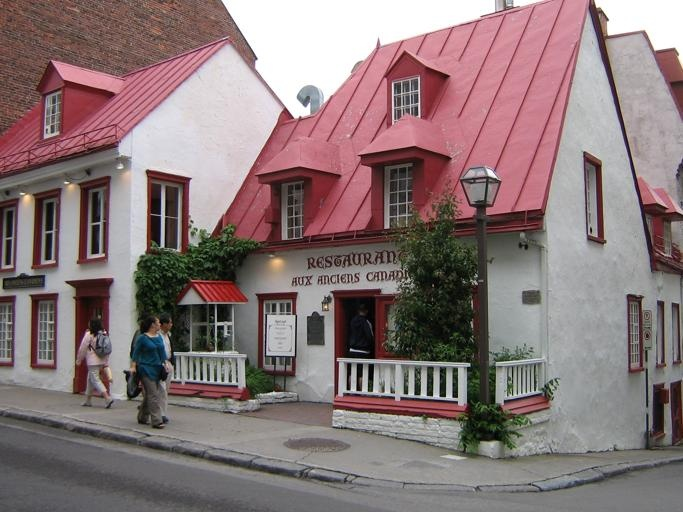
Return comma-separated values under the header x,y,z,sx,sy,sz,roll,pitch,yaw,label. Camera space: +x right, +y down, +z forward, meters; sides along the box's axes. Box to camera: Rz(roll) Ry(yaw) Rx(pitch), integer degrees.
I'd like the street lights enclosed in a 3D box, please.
x,y,z,sx,sy,sz,roll,pitch,yaw,label
2.728,0.556,14.371,0.626,4.743,0.463,2,0,13,street lights

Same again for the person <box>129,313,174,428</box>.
x,y,z,sx,sy,sz,roll,pitch,yaw,label
-4.002,2.380,15.130,0.779,2.409,0.562,3,0,-14,person

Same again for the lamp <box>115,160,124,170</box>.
x,y,z,sx,sy,sz,roll,pitch,yaw,label
-6.129,-2.543,19.983,0.207,0.254,0.217,2,-12,-15,lamp

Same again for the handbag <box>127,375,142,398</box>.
x,y,z,sx,sy,sz,roll,pitch,yaw,label
-4.383,2.733,15.283,0.269,0.524,0.624,3,0,-19,handbag

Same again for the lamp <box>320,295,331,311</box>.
x,y,z,sx,sy,sz,roll,pitch,yaw,label
-0.403,1.242,19.485,0.336,0.467,0.100,2,0,42,lamp

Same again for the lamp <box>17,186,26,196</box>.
x,y,z,sx,sy,sz,roll,pitch,yaw,label
-10.256,-2.098,23.193,0.260,0.302,0.279,2,-7,-30,lamp

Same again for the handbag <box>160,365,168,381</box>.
x,y,z,sx,sy,sz,roll,pitch,yaw,label
-3.708,2.453,15.153,0.071,0.266,0.174,7,3,44,handbag

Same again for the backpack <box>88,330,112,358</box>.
x,y,z,sx,sy,sz,roll,pitch,yaw,label
-5.917,2.161,17.771,0.474,0.710,0.312,3,0,-21,backpack

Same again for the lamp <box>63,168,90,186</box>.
x,y,z,sx,sy,sz,roll,pitch,yaw,label
-7.801,-2.370,21.457,0.363,0.526,1.293,5,-4,-44,lamp
